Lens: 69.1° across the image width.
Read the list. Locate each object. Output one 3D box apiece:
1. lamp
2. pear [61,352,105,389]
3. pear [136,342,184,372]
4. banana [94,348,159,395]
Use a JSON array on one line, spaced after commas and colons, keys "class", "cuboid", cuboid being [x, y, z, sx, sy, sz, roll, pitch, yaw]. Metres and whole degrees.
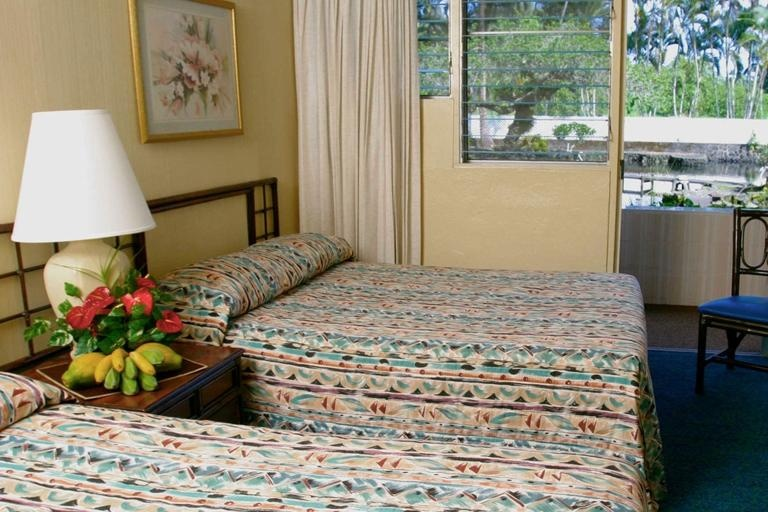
[{"class": "lamp", "cuboid": [-1.252, -0.162, 2.299, 0.538, 0.858, 0.248, -6, 16, -19]}, {"class": "pear", "cuboid": [-1.214, 0.460, 2.280, 0.178, 0.092, 0.119, -24, 21, -39]}, {"class": "pear", "cuboid": [-0.918, 0.415, 2.325, 0.179, 0.100, 0.097, 26, 56, -3]}, {"class": "banana", "cuboid": [-1.037, 0.458, 2.231, 0.213, 0.070, 0.189, 42, 44, 18]}]
